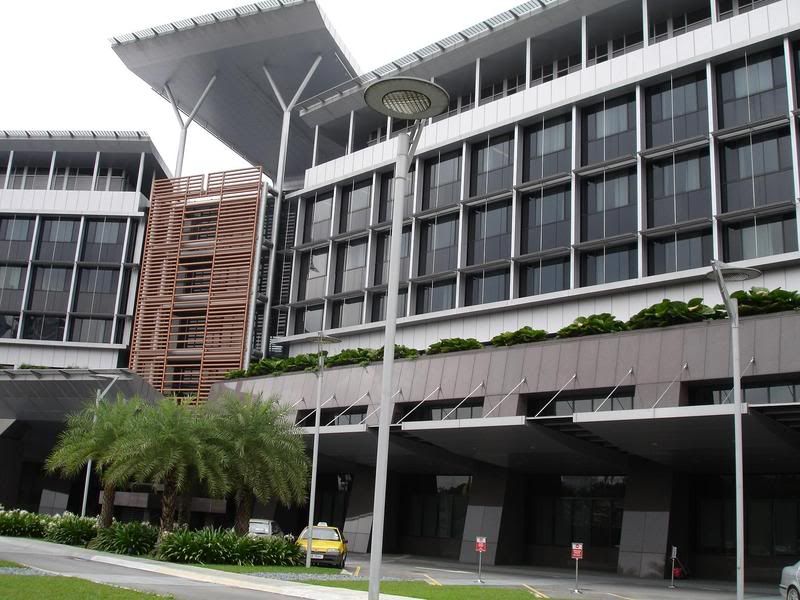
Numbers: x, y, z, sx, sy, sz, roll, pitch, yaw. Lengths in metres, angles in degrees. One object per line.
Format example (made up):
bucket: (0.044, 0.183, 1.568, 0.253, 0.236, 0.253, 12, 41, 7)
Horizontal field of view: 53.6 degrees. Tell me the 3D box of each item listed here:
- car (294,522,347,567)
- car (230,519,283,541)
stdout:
car: (-3.298, 11.282, 36.200, 1.834, 1.142, 2.698, -1, -24, 3)
car: (-6.633, 11.061, 37.921, 1.638, 1.163, 2.577, 1, -4, 11)
